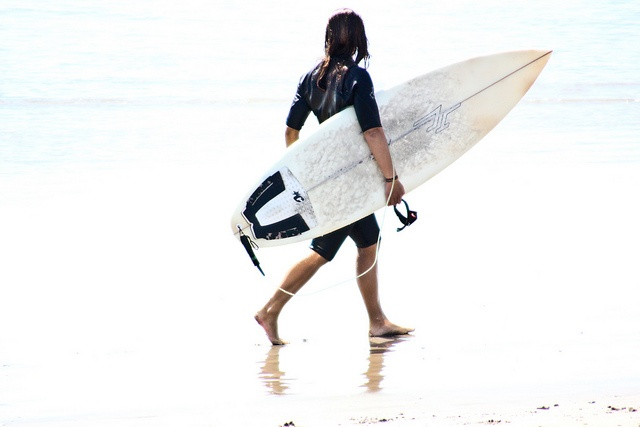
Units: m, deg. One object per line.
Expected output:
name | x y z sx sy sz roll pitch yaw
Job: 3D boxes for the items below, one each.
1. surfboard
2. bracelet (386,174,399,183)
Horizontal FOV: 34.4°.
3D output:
surfboard | 0.872 -0.875 13.389 5.622 1.347 0.683 -24 0 -4
bracelet | 0.893 -0.420 12.527 0.128 0.065 0.106 3 11 15
